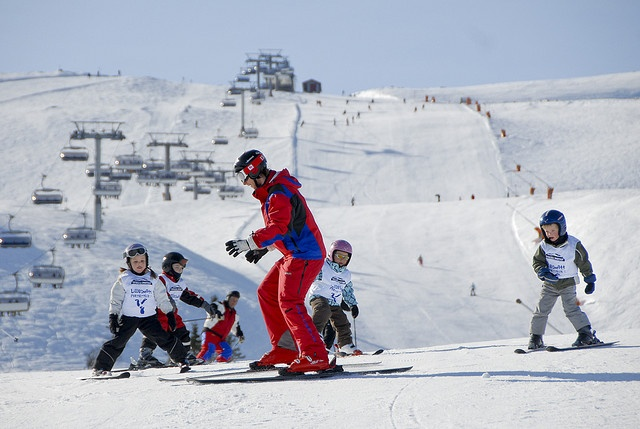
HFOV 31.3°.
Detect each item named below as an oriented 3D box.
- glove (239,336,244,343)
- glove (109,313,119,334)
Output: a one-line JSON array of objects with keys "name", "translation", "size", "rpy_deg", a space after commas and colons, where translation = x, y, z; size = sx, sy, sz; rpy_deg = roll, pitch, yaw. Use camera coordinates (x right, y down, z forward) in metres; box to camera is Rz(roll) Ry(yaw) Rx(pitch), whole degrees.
[{"name": "glove", "translation": [-4.744, 7.694, 70.397], "size": [0.320, 0.410, 0.150], "rpy_deg": [-3, 2, -1]}, {"name": "glove", "translation": [-12.039, 6.455, 67.240], "size": [0.577, 1.089, 0.329], "rpy_deg": [-3, -1, -16]}]
